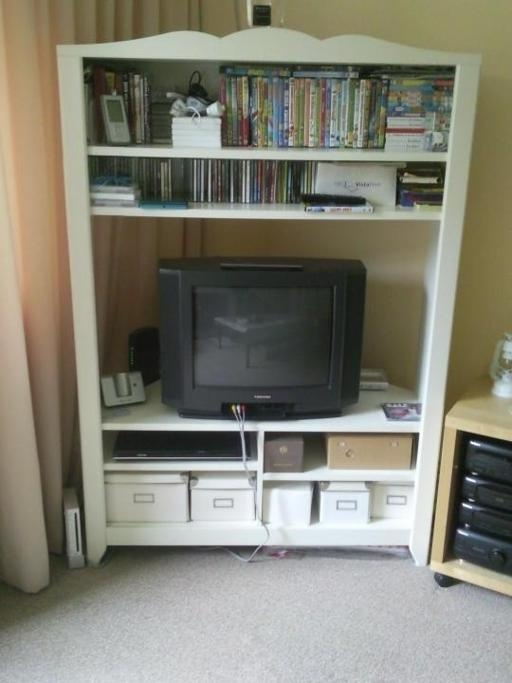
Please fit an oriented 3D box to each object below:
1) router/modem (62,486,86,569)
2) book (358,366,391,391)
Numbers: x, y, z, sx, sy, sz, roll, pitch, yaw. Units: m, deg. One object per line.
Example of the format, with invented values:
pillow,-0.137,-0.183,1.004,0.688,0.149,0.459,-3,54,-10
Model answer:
router/modem,-0.607,0.625,1.928,0.078,0.186,0.207,-4,57,-10
book,0.433,0.139,2.153,0.074,0.021,0.085,-2,29,0
